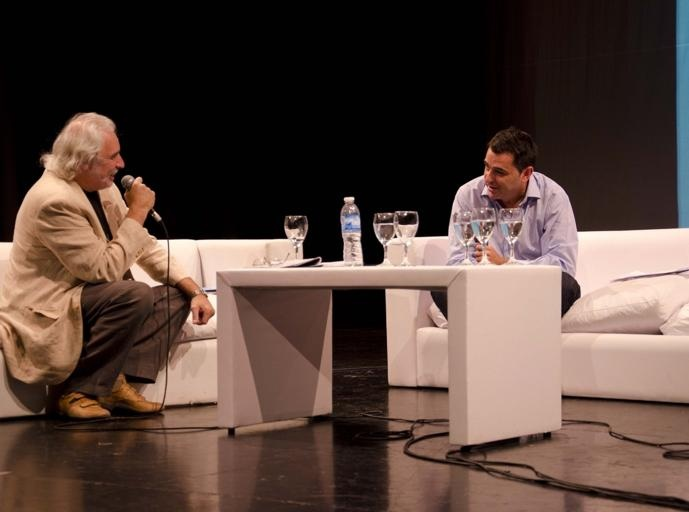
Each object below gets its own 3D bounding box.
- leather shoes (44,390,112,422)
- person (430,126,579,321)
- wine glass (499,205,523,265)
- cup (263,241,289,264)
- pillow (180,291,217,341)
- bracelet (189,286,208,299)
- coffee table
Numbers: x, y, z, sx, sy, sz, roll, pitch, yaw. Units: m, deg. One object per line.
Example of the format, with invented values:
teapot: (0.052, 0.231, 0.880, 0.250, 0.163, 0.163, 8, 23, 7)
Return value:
leather shoes: (-1.193, 0.637, 2.949, 0.258, 0.134, 0.146, 1, -3, 19)
person: (0.885, -0.163, 3.623, 0.718, 1.057, 0.687, 4, 27, 20)
wine glass: (0.644, -0.075, 2.557, 0.080, 0.212, 0.233, -2, 2, 14)
cup: (-0.405, -0.029, 3.965, 0.165, 0.198, 0.179, 0, -2, 0)
pillow: (-0.706, 0.298, 3.215, 0.209, 0.239, 0.061, 3, 13, -41)
bracelet: (-0.699, 0.174, 3.179, 0.038, 0.066, 0.058, 27, -24, -33)
coffee table: (0.136, 0.360, 2.538, 1.301, 0.668, 0.512, -2, 1, 26)
